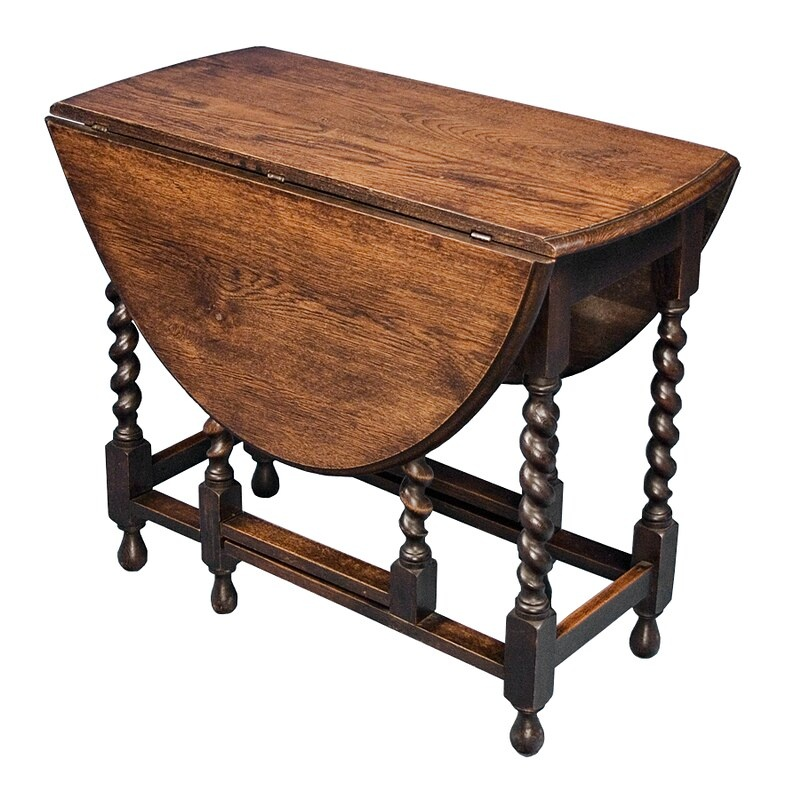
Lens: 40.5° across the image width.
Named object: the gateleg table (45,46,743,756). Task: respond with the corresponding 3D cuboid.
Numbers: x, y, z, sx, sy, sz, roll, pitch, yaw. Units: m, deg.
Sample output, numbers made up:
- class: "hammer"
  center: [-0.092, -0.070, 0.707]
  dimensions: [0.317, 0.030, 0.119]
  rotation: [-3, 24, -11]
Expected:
- class: "gateleg table"
  center: [-0.003, -0.220, 2.670]
  dimensions: [1.952, 0.966, 1.357]
  rotation: [17, -57, 30]
